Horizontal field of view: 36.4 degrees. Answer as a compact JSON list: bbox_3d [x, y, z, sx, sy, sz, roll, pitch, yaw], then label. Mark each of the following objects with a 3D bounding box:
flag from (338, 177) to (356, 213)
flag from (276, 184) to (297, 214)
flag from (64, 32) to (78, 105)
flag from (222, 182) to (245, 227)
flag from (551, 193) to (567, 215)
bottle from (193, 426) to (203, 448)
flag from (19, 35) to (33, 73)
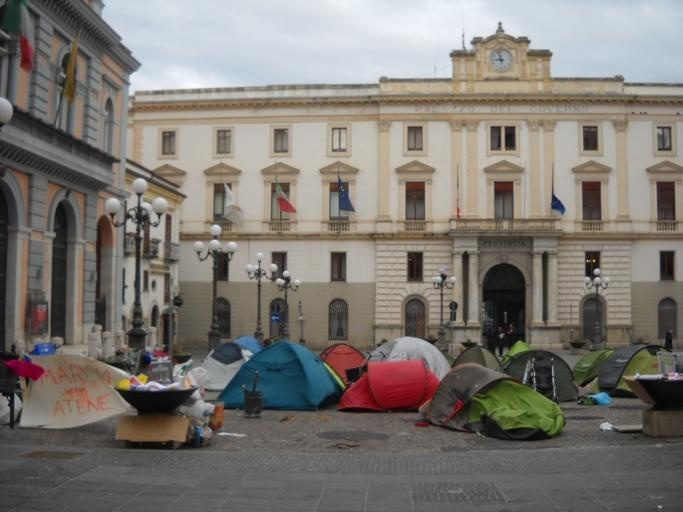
[{"bbox_3d":[0.276,-3.716,60.735,0.993,2.156,2.034,0,-8,0],"label":"flag"},{"bbox_3d":[-3.312,-3.537,60.823,1.166,1.942,2.327,1,-8,-4],"label":"flag"},{"bbox_3d":[-10.615,-7.456,40.727,0.518,2.865,1.856,2,-8,-15],"label":"flag"},{"bbox_3d":[-6.384,-2.789,60.359,0.810,1.999,1.957,-12,-16,28],"label":"flag"},{"bbox_3d":[12.571,-3.082,60.344,1.151,1.604,0.123,4,-11,-9],"label":"flag"},{"bbox_3d":[-4.027,5.058,29.075,0.270,0.568,0.154,0,-7,1],"label":"bottle"},{"bbox_3d":[-11.645,-7.606,38.415,0.452,1.237,1.037,2,-8,-13],"label":"flag"}]
